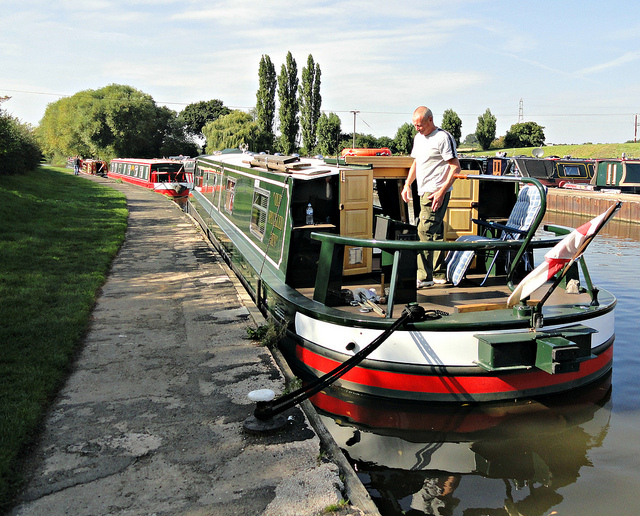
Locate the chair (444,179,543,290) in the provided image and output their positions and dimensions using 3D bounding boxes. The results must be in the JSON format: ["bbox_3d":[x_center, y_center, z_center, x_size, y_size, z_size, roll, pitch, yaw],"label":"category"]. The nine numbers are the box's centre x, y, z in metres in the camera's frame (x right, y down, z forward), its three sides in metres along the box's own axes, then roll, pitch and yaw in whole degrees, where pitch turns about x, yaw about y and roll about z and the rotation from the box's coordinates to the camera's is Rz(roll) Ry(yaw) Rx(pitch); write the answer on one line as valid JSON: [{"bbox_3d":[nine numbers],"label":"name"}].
[{"bbox_3d":[2.303,-0.321,6.668,1.419,0.918,0.818,-15,15,0],"label":"chair"}]

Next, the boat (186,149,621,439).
[{"bbox_3d":[0.407,-0.060,7.674,2.725,1.653,7.488,-1,8,-19],"label":"boat"}]
